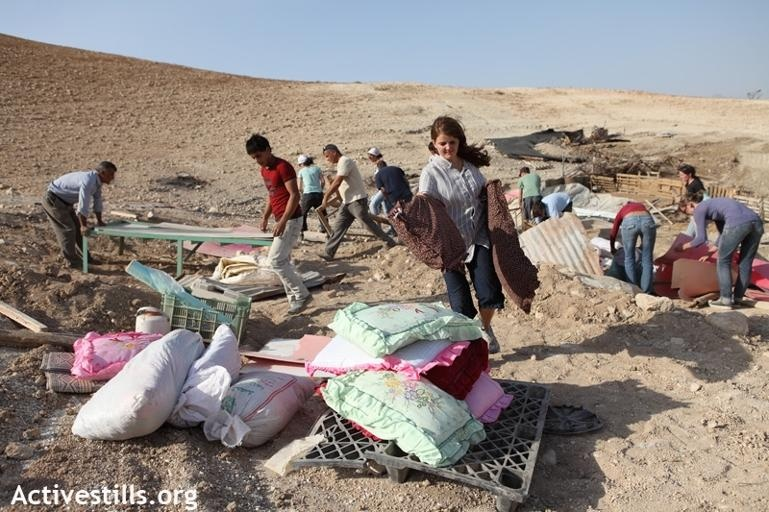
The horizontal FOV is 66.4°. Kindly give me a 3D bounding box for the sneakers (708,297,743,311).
[{"bbox_3d":[4.279,0.613,7.404,0.385,0.128,0.179,5,11,30],"label":"sneakers"}]

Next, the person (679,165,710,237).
[{"bbox_3d":[4.954,-0.794,9.235,0.607,1.344,0.481,-5,29,22],"label":"person"}]

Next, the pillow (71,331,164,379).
[{"bbox_3d":[-2.646,0.961,5.690,0.736,0.324,0.610,-1,18,-2],"label":"pillow"}]

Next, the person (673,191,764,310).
[{"bbox_3d":[4.265,-0.072,7.522,0.873,1.331,0.930,10,24,26],"label":"person"}]

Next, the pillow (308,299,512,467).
[{"bbox_3d":[0.035,1.202,5.167,1.522,0.365,1.378,29,44,9],"label":"pillow"}]

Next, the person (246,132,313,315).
[{"bbox_3d":[-1.296,-0.374,7.314,0.577,2.228,0.660,-6,23,-11],"label":"person"}]

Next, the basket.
[{"bbox_3d":[-1.916,0.674,6.535,0.987,0.324,0.545,12,9,4],"label":"basket"}]

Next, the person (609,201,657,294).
[{"bbox_3d":[3.471,-0.112,8.036,0.471,1.180,0.787,-10,23,-21],"label":"person"}]

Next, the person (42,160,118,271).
[{"bbox_3d":[-4.350,-0.599,8.689,0.997,1.560,0.912,19,29,40],"label":"person"}]
